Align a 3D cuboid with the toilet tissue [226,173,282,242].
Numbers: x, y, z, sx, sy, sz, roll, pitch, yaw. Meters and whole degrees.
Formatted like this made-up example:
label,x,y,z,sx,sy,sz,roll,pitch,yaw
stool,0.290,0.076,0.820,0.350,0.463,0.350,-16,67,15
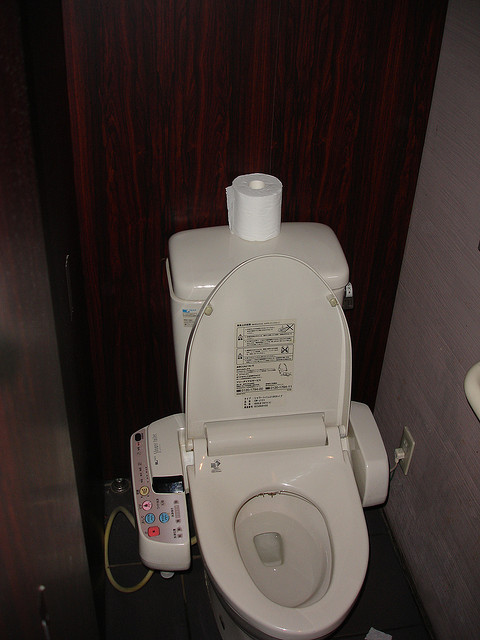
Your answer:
label,x,y,z,sx,sy,sz,roll,pitch,yaw
toilet tissue,0.038,-0.288,1.153,0.092,0.133,0.124,-10,38,-12
